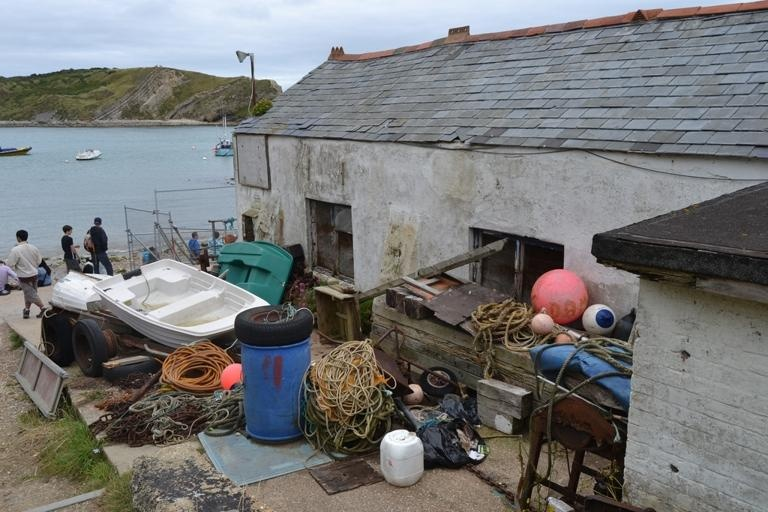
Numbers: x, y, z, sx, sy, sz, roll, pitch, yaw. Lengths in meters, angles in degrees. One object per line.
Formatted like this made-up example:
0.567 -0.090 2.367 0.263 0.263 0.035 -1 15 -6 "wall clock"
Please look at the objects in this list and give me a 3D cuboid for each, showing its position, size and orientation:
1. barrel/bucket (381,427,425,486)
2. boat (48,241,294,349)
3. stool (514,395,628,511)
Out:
0.212 2.350 6.197 0.605 0.621 0.478 -1 4 -34 "barrel/bucket"
-3.913 0.700 10.493 3.790 1.345 3.895 7 15 38 "boat"
1.873 2.022 5.225 0.996 1.317 0.485 3 14 23 "stool"
